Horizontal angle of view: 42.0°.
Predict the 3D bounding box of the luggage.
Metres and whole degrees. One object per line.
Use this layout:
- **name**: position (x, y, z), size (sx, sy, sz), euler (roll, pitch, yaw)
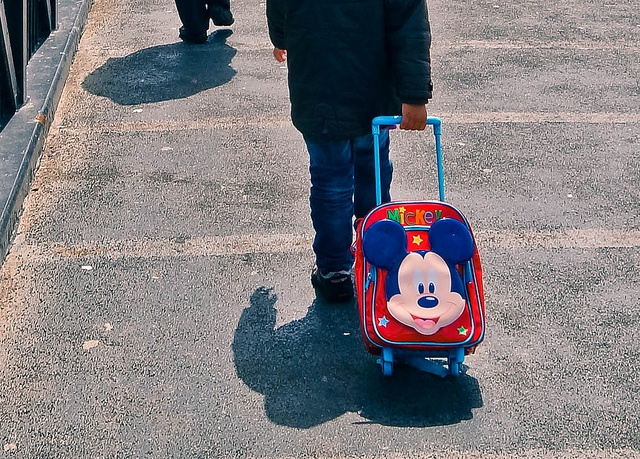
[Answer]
- **luggage**: position (0.635, 0.070, 5.752), size (1.071, 1.740, 1.046), euler (-3, 5, -28)
